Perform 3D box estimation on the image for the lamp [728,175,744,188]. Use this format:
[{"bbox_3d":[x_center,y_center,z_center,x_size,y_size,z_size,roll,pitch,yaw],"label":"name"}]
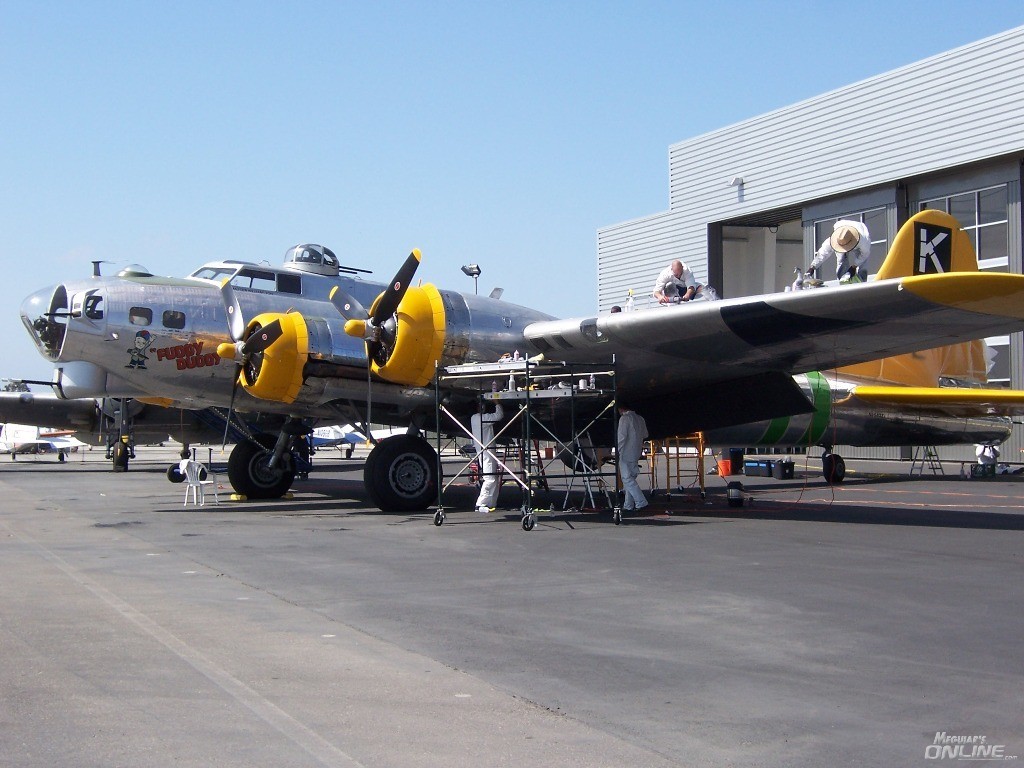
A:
[{"bbox_3d":[9.051,-8.136,43.422,0.627,0.373,0.128,5,7,45],"label":"lamp"}]
